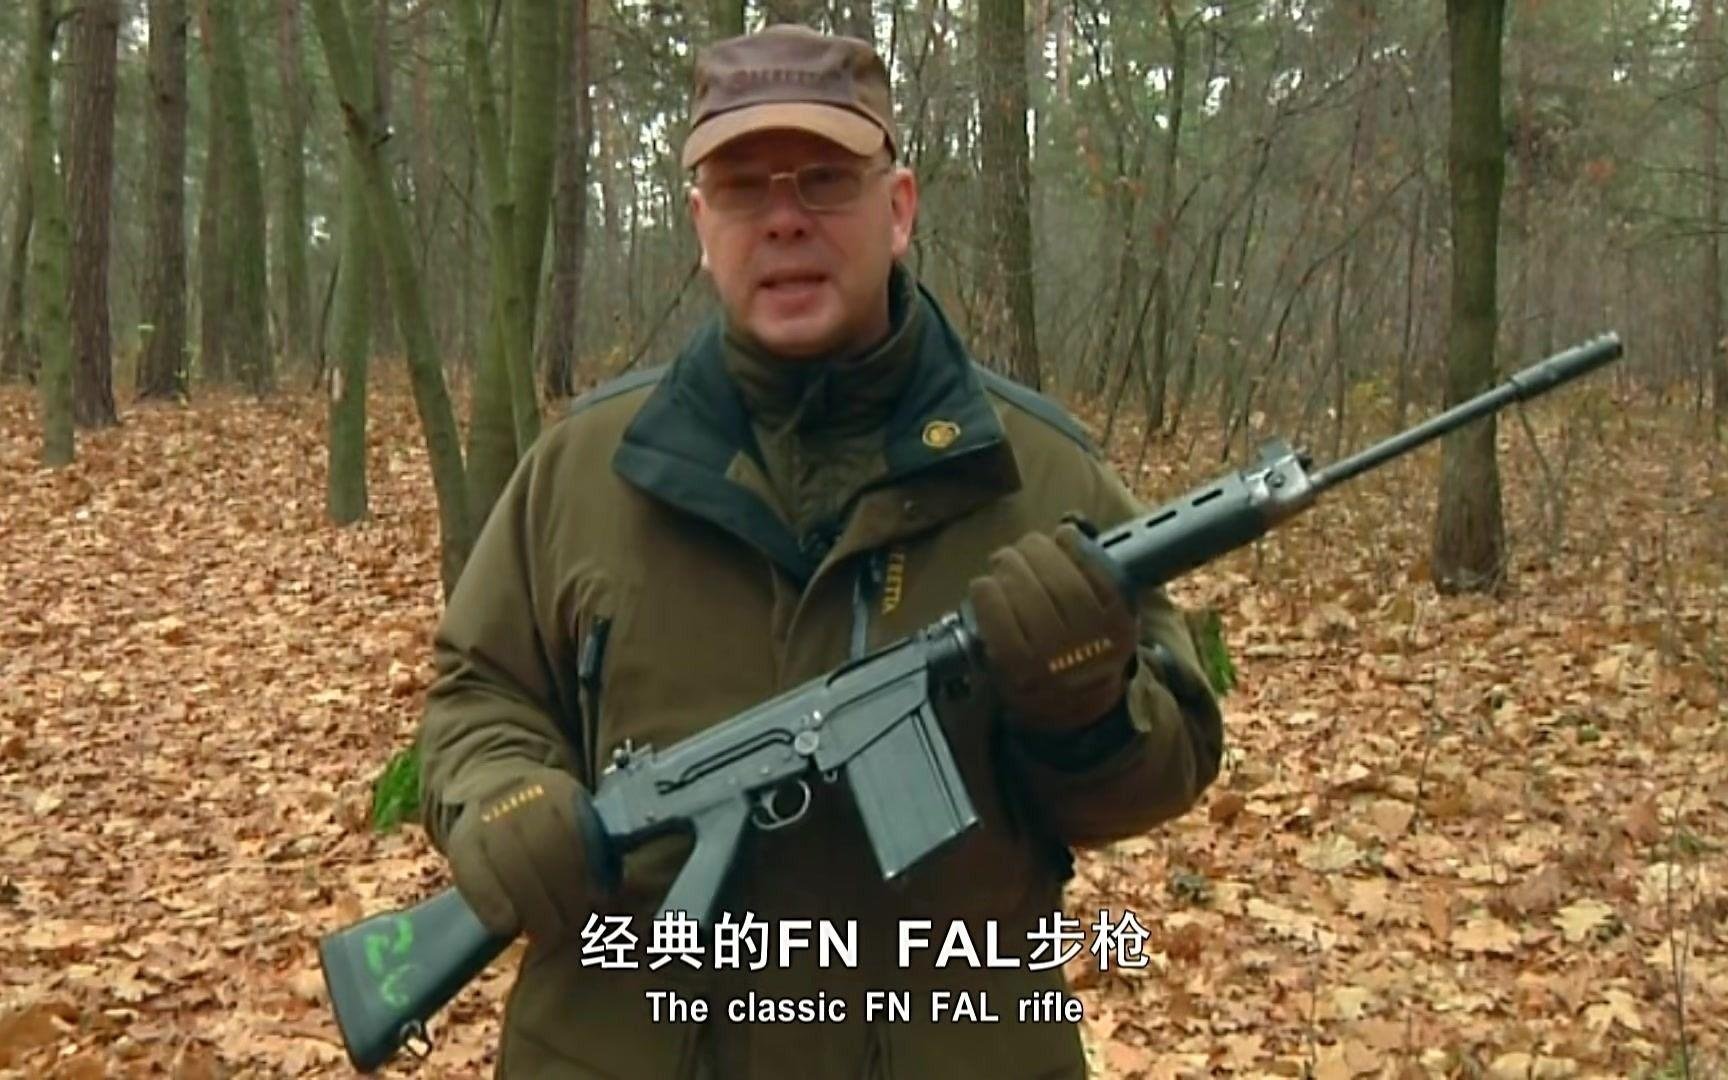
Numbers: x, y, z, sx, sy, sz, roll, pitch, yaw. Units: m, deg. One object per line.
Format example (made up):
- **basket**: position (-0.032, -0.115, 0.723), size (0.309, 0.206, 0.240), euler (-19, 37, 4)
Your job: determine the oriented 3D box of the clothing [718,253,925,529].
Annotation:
- **clothing**: position (-0.185, -0.591, 7.460), size (0.787, 1.314, 0.885), euler (1, -18, 5)
